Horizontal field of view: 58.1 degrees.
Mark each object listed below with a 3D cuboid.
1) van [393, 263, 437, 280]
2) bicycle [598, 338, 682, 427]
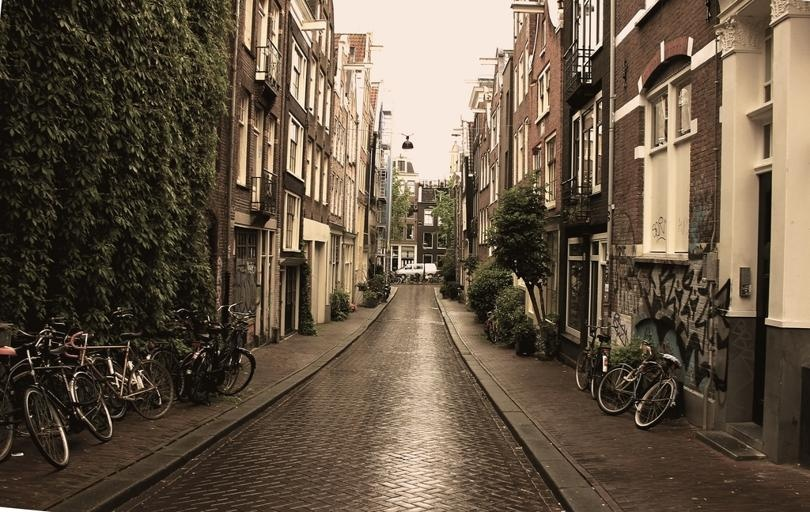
[{"bbox_3d":[1.345,1.543,78.341,3.605,1.564,1.884,2,-2,-1],"label":"van"},{"bbox_3d":[4.381,2.353,13.382,0.904,1.340,1.821,-1,5,-17],"label":"bicycle"}]
